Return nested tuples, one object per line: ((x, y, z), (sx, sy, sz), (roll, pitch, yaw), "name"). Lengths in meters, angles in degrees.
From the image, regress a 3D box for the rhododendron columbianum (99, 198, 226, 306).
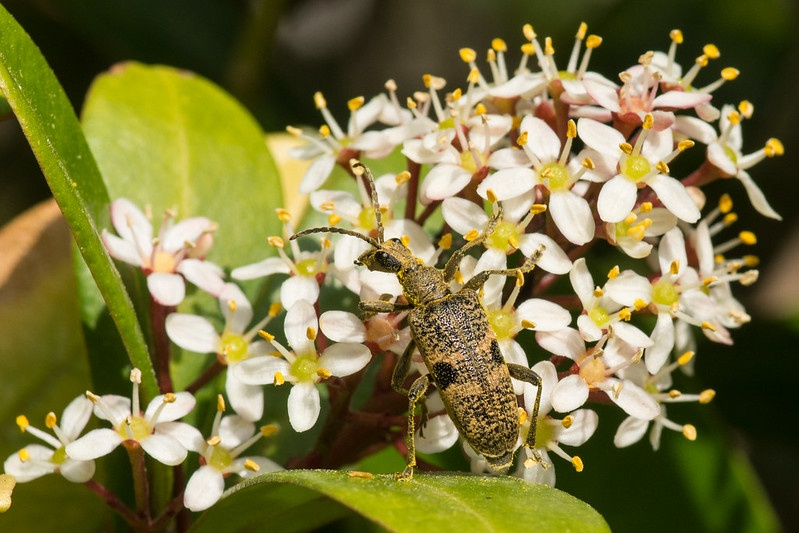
((-0.686, -0.052, 2.406), (0.253, 0.158, 0.361), (-28, 67, -30), "rhododendron columbianum")

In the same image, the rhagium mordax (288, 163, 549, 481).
((0.165, 0.180, 2.370), (0.517, 0.345, 0.839), (-14, 67, -3), "rhagium mordax")

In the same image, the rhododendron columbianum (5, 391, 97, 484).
((-0.927, 0.505, 2.330), (0.227, 0.173, 0.351), (9, 87, 18), "rhododendron columbianum")

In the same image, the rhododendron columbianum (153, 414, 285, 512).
((-0.493, 0.551, 2.294), (0.247, 0.134, 0.292), (25, 44, 26), "rhododendron columbianum")

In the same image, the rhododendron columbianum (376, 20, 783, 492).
((0.611, -0.017, 2.902), (1.191, 0.659, 1.358), (-28, 79, -4), "rhododendron columbianum")
